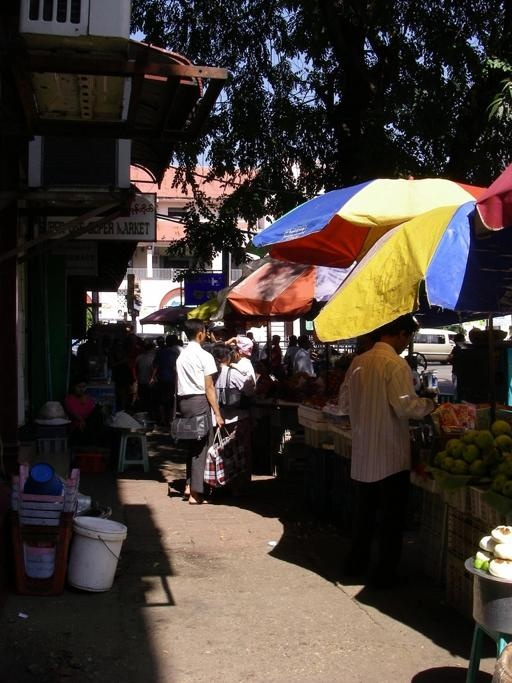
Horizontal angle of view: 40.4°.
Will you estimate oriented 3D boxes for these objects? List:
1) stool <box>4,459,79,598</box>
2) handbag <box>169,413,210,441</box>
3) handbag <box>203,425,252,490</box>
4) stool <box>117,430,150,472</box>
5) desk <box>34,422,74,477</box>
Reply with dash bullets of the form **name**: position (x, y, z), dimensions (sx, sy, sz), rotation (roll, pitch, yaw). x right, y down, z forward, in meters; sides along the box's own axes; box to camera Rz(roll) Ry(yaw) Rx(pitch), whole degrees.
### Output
- **stool**: position (-1.292, 1.133, 4.198), dimensions (0.379, 0.737, 0.280), rotation (3, -3, -18)
- **handbag**: position (-0.686, 0.887, 7.177), dimensions (0.470, 0.352, 0.246), rotation (-1, -10, 8)
- **handbag**: position (-0.330, 1.237, 7.523), dimensions (0.296, 0.806, 0.807), rotation (-2, -1, 26)
- **stool**: position (-1.653, 1.449, 9.363), dimensions (0.490, 0.671, 0.507), rotation (0, 6, -7)
- **desk**: position (-2.140, 1.117, 7.290), dimensions (0.470, 0.593, 0.808), rotation (1, -2, -4)
